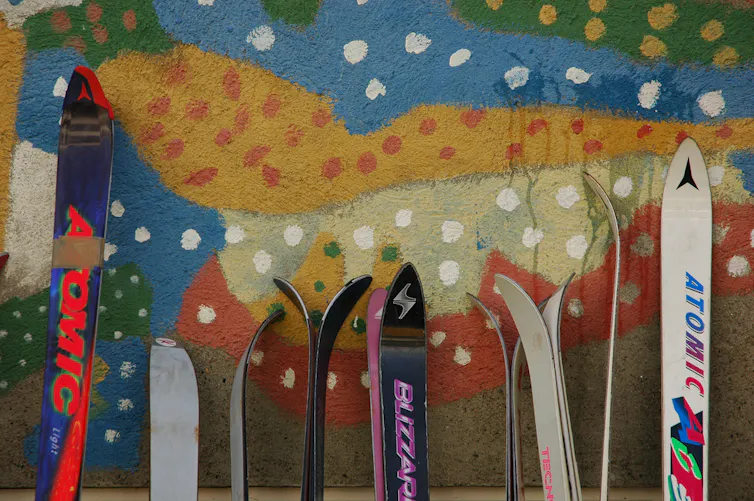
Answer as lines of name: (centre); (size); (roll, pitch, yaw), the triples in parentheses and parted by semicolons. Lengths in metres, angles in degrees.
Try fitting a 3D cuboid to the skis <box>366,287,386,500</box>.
skis: (-0.008, 0.748, 5.558); (0.113, 1.008, 0.104); (1, 3, 0)
